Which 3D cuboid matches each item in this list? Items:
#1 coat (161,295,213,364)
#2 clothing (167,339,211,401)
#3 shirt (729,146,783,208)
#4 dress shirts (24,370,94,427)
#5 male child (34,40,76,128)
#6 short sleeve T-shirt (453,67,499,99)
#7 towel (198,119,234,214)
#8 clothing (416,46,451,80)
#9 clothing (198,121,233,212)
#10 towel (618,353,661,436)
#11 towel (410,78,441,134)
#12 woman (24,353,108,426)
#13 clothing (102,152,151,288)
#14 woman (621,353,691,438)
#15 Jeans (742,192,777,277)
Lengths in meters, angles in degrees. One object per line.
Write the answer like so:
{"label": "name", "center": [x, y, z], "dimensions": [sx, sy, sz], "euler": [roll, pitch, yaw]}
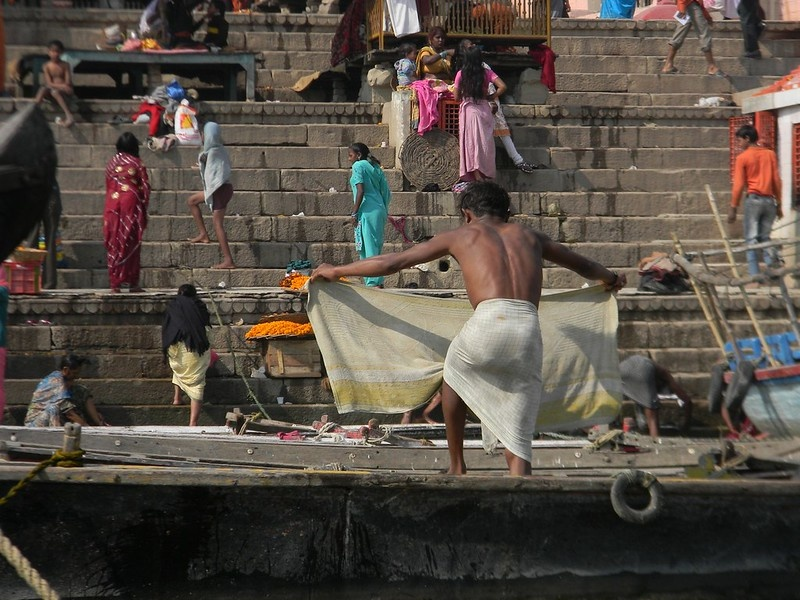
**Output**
{"label": "coat", "center": [-2.480, 0.368, 21.712], "dimensions": [0.761, 0.987, 0.611], "euler": [0, -18, -2]}
{"label": "clothing", "center": [-2.517, 0.817, 21.405], "dimensions": [0.555, 0.636, 0.241], "euler": [16, 9, 4]}
{"label": "shirt", "center": [4.649, -1.567, 23.534], "dimensions": [0.904, 1.036, 0.497], "euler": [1, 8, 20]}
{"label": "dress shirts", "center": [-3.945, 1.166, 20.956], "dimensions": [0.634, 0.757, 0.619], "euler": [-1, 3, 31]}
{"label": "male child", "center": [-4.912, -3.013, 25.581], "dimensions": [0.518, 1.133, 1.279], "euler": [-7, 12, -11]}
{"label": "short sleeve T-shirt", "center": [0.988, -2.848, 24.113], "dimensions": [0.487, 0.419, 0.252], "euler": [-2, 31, -6]}
{"label": "towel", "center": [-2.422, -1.586, 23.304], "dimensions": [0.463, 1.323, 0.424], "euler": [-2, -3, 13]}
{"label": "clothing", "center": [0.463, -3.285, 25.492], "dimensions": [0.539, 0.464, 0.284], "euler": [-2, 2, -16]}
{"label": "clothing", "center": [-2.405, -1.689, 23.267], "dimensions": [0.374, 1.096, 0.388], "euler": [-6, 12, -6]}
{"label": "towel", "center": [2.819, 1.118, 21.387], "dimensions": [0.650, 0.868, 0.296], "euler": [2, 5, 42]}
{"label": "towel", "center": [0.354, -2.613, 24.833], "dimensions": [0.381, 0.657, 0.789], "euler": [-4, 12, 1]}
{"label": "woman", "center": [-3.857, 1.085, 20.894], "dimensions": [0.949, 0.872, 0.812], "euler": [-1, 1, -12]}
{"label": "clothing", "center": [-3.393, -0.964, 22.369], "dimensions": [0.632, 1.626, 0.394], "euler": [-10, 13, -22]}
{"label": "woman", "center": [2.969, 1.160, 21.731], "dimensions": [0.866, 1.014, 0.351], "euler": [-26, -4, -11]}
{"label": "Jeans", "center": [4.639, -0.824, 23.445], "dimensions": [0.433, 1.065, 0.344], "euler": [-1, 4, -12]}
